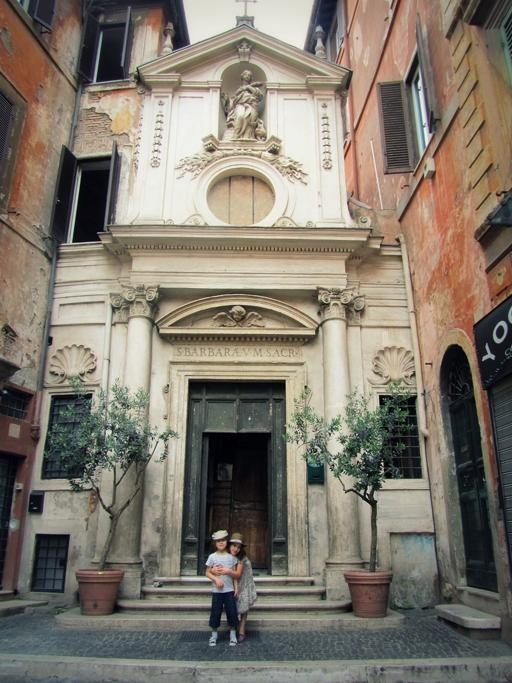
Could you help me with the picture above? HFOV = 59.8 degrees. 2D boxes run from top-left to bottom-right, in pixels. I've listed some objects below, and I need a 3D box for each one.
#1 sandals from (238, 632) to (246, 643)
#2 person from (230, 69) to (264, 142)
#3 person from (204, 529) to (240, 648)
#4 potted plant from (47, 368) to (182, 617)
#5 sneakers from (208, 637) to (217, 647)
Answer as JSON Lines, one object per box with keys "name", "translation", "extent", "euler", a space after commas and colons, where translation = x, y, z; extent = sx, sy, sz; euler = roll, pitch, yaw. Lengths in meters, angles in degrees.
{"name": "sandals", "translation": [-0.145, 2.947, 4.460], "extent": [0.085, 0.067, 0.232], "euler": [0, -21, -2]}
{"name": "person", "translation": [-0.273, -5.015, 9.501], "extent": [0.766, 1.701, 0.457], "euler": [-1, -13, 5]}
{"name": "person", "translation": [-0.327, 2.390, 4.360], "extent": [0.309, 1.019, 0.605], "euler": [1, -17, -1]}
{"name": "potted plant", "translation": [-2.240, 2.056, 6.551], "extent": [1.609, 3.210, 2.162], "euler": [9, -19, -25]}
{"name": "sneakers", "translation": [-0.407, 2.815, 4.204], "extent": [0.070, 0.069, 0.173], "euler": [2, -18, -4]}
